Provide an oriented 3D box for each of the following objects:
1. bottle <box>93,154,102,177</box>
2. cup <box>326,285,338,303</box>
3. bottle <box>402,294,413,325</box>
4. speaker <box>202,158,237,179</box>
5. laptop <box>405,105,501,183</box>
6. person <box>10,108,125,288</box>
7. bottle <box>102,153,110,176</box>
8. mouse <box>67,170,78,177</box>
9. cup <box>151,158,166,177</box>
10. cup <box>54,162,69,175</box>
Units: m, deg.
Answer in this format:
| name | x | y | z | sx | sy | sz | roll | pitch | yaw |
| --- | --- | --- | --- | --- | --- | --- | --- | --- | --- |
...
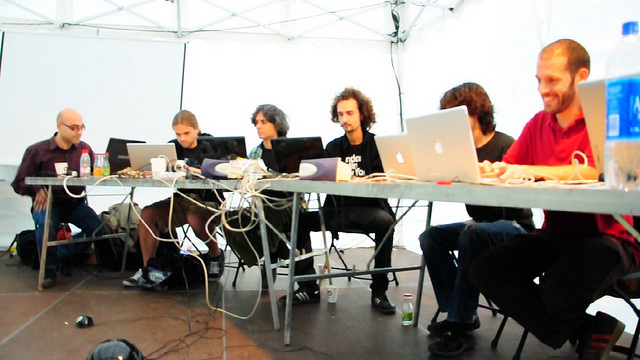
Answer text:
| name | x | y | z | sx | sy | sz | roll | pitch | yaw |
| --- | --- | --- | --- | --- | --- | --- | --- | --- | --- |
| bottle | -2.227 | -0.139 | 4.833 | 0.079 | 0.211 | 0.255 | -6 | 14 | -24 |
| cup | 0.117 | 1.109 | 4.667 | 0.146 | 0.131 | 0.141 | 0 | -11 | 0 |
| bottle | 0.784 | 1.125 | 4.283 | 0.089 | 0.269 | 0.196 | 3 | 13 | 10 |
| speaker | -0.932 | -0.097 | 4.475 | 0.321 | 0.165 | 0.213 | -1 | 13 | -7 |
| laptop | 1.031 | -0.190 | 3.603 | 0.627 | 0.427 | 0.579 | 8 | -9 | -38 |
| person | -2.820 | 0.145 | 5.310 | 0.923 | 1.818 | 1.005 | -8 | 16 | -33 |
| bottle | -2.200 | -0.160 | 4.948 | 0.061 | 0.213 | 0.322 | -4 | 13 | -20 |
| mouse | -2.543 | -0.061 | 4.945 | 0.083 | 0.055 | 0.432 | -6 | 13 | -28 |
| cup | -1.579 | -0.129 | 4.725 | 0.129 | 0.155 | 0.112 | -4 | 14 | -21 |
| cup | -2.661 | -0.125 | 5.018 | 0.143 | 0.131 | 0.128 | -1 | 1 | -1 |
